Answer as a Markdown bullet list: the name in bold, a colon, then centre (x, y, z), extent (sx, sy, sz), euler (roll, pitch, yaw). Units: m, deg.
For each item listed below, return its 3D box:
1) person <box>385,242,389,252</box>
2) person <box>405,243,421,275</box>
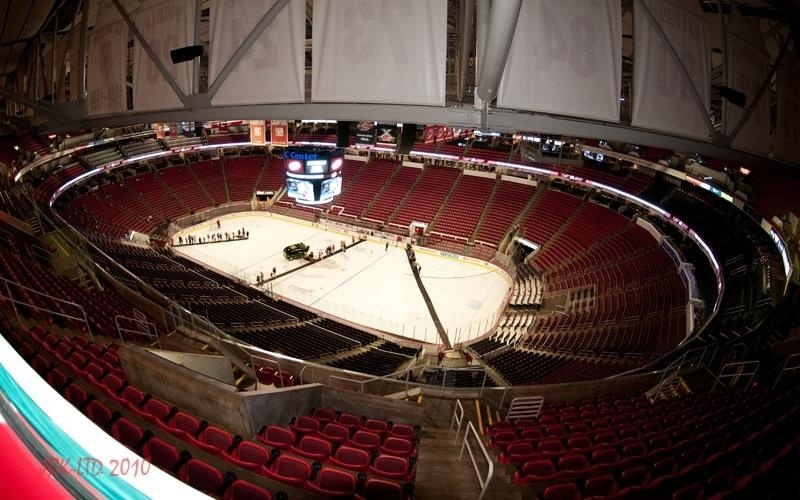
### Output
- **person**: centre (-0.974, -0.184, 36.985), extent (0.186, 0.738, 0.316), euler (-4, -52, 10)
- **person**: centre (1.031, 0.819, 34.318), extent (0.518, 3.543, 0.427), euler (9, -67, -15)
